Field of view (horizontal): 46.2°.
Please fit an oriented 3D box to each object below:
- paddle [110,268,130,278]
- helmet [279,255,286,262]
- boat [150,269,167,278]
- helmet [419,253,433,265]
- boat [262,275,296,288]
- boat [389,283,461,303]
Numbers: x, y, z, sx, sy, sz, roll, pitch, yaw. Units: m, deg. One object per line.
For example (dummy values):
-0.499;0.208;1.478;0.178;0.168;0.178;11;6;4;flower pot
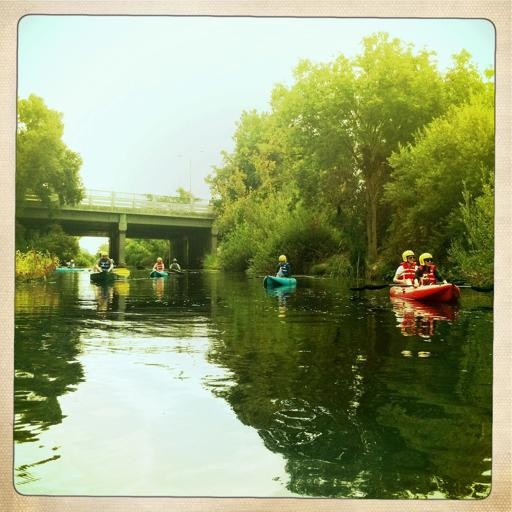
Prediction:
-6.223;0.812;27.742;0.847;0.207;0.862;2;0;-17;paddle
0.857;0.094;19.876;0.167;0.226;0.230;2;9;7;helmet
-4.837;0.892;29.985;0.772;0.420;1.049;2;-5;-9;boat
3.650;0.064;13.089;0.306;0.273;0.235;-5;1;40;helmet
0.785;0.891;20.013;1.213;0.444;0.737;4;-6;-27;boat
3.686;0.816;13.065;0.457;0.396;2.074;3;-6;-21;boat
